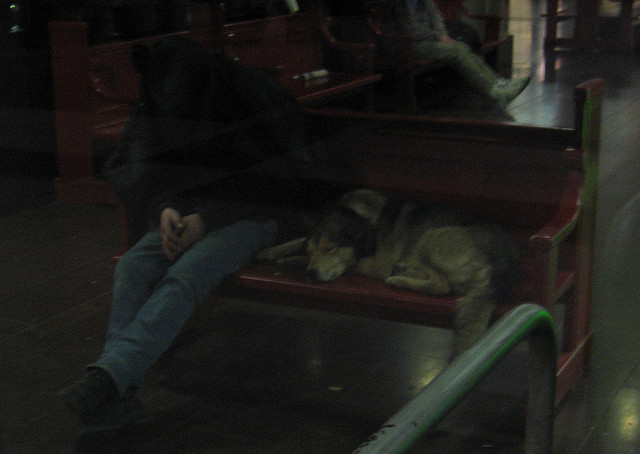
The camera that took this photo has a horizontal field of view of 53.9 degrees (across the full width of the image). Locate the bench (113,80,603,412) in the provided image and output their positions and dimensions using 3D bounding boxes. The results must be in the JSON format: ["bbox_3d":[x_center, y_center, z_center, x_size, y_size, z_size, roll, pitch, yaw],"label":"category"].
[{"bbox_3d":[0.085,0.025,1.851,1.332,0.594,0.538,2,26,33],"label":"bench"}]

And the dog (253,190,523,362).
[{"bbox_3d":[0.188,0.084,1.632,0.618,0.308,0.367,7,19,32],"label":"dog"}]

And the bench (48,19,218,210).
[{"bbox_3d":[-0.540,-0.321,1.802,0.288,0.298,0.592,5,16,17],"label":"bench"}]

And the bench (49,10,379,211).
[{"bbox_3d":[-0.147,-0.462,2.230,0.539,0.582,1.305,28,36,34],"label":"bench"}]
